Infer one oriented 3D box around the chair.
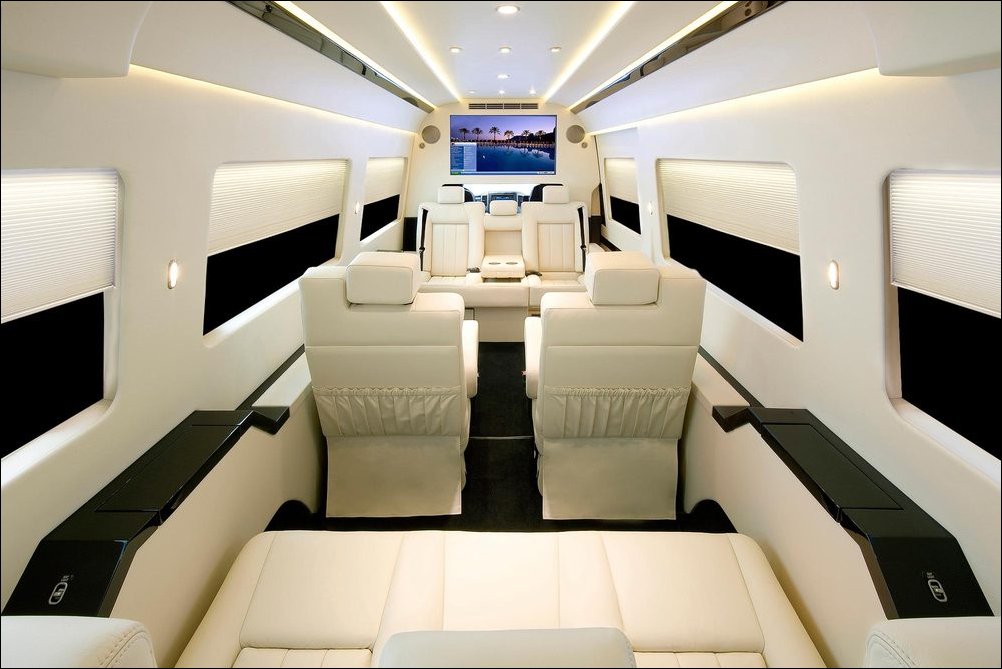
[{"bbox_3d":[-0.026,-0.017,4.680,2.015,1.959,1.459,0,-70,0],"label":"chair"}]
